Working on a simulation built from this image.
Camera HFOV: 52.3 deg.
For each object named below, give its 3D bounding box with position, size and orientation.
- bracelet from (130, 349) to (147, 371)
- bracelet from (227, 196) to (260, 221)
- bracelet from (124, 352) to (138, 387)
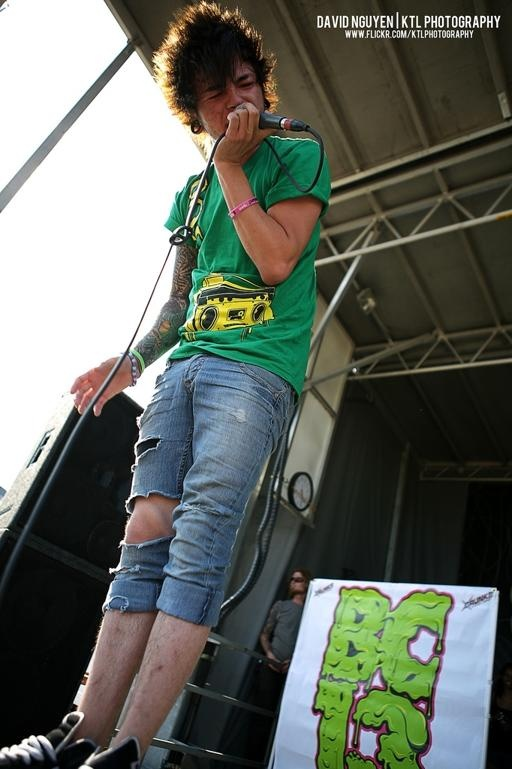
[{"bbox_3d":[-0.268,-0.059,1.196,0.045,0.019,0.035,64,-20,-2],"label":"bracelet"},{"bbox_3d":[-0.021,-0.298,0.877,0.038,0.041,0.011,-34,-92,41],"label":"bracelet"},{"bbox_3d":[-0.276,-0.036,1.184,0.025,0.063,0.046,3,-2,-3],"label":"bracelet"}]
